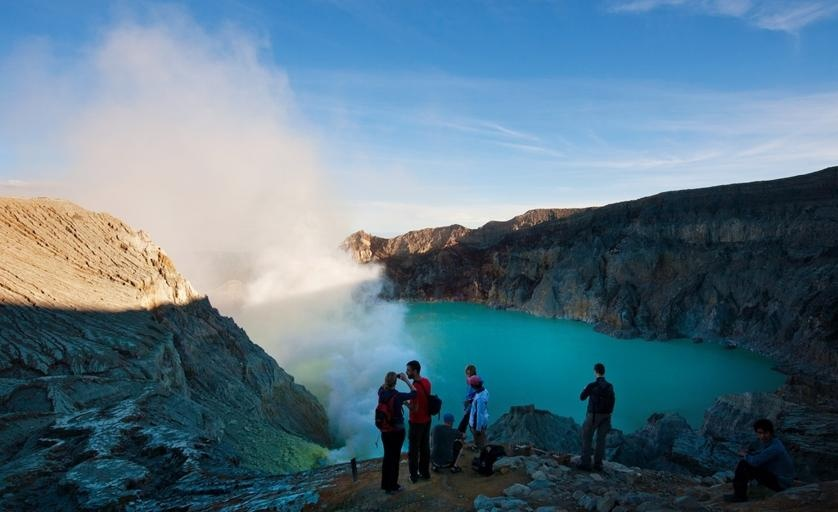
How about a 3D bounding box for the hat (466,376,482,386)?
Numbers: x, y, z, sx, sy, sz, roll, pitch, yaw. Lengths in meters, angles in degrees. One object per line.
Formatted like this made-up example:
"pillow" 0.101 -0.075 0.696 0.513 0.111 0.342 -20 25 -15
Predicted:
"hat" 2.616 5.822 25.768 0.644 0.293 0.424 -3 13 -23
